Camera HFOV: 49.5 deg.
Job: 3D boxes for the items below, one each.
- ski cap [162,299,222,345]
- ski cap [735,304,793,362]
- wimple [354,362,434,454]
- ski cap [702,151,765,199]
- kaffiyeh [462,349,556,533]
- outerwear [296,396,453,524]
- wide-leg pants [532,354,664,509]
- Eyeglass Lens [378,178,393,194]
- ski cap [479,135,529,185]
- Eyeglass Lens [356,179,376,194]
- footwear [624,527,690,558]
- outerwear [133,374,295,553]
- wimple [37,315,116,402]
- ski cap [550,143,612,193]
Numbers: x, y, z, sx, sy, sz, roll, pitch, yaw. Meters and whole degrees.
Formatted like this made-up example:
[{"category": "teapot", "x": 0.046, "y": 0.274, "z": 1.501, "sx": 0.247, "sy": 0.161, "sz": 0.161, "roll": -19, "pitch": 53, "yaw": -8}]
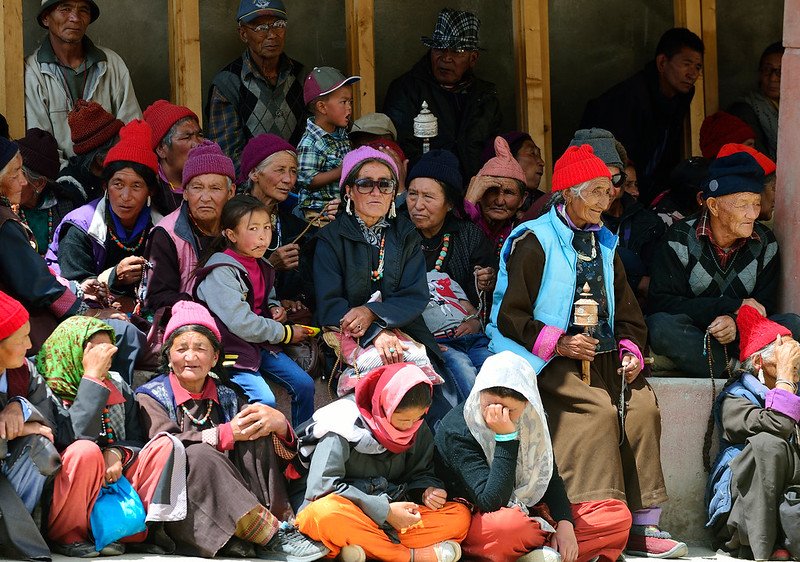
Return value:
[{"category": "ski cap", "x": -1.245, "y": 0.242, "z": 5.199, "sx": 0.315, "sy": 0.243, "sz": 0.283, "roll": 0, "pitch": 2, "yaw": -9}, {"category": "ski cap", "x": 2.402, "y": 0.340, "z": 5.856, "sx": 0.307, "sy": 0.346, "sz": 0.414, "roll": -32, "pitch": 16, "yaw": -30}, {"category": "wimple", "x": -0.058, "y": 0.693, "z": 5.007, "sx": 0.383, "sy": 0.436, "sz": 0.488, "roll": 6, "pitch": 16, "yaw": -40}, {"category": "ski cap", "x": 2.386, "y": -0.755, "z": 6.245, "sx": 0.391, "sy": 0.253, "sz": 0.303, "roll": -12, "pitch": -6, "yaw": 36}, {"category": "kaffiyeh", "x": 0.611, "y": 0.855, "z": 4.874, "sx": 0.517, "sy": 0.920, "sz": 0.312, "roll": 0, "pitch": 2, "yaw": 2}, {"category": "outerwear", "x": -0.145, "y": 1.064, "z": 5.074, "sx": 0.744, "sy": 0.771, "sz": 0.501, "roll": -5, "pitch": 46, "yaw": -26}, {"category": "wide-leg pants", "x": 1.206, "y": 0.957, "z": 5.570, "sx": 0.702, "sy": 1.015, "sz": 0.336, "roll": -6, "pitch": -15, "yaw": -25}, {"category": "Eyeglass Lens", "x": -0.096, "y": -0.640, "z": 5.837, "sx": 0.127, "sy": 0.096, "sz": 0.033, "roll": -1, "pitch": 2, "yaw": -39}, {"category": "ski cap", "x": 0.843, "y": -0.955, "z": 6.985, "sx": 0.374, "sy": 0.360, "sz": 0.329, "roll": 19, "pitch": -14, "yaw": -28}, {"category": "Eyeglass Lens", "x": -0.234, "y": -0.644, "z": 5.817, "sx": 0.133, "sy": 0.105, "sz": 0.032, "roll": 1, "pitch": 2, "yaw": 21}, {"category": "footwear", "x": 1.575, "y": 1.607, "z": 5.407, "sx": 0.427, "sy": 0.172, "sz": 0.162, "roll": 0, "pitch": -1, "yaw": 26}, {"category": "outerwear", "x": -1.046, "y": 1.018, "z": 4.945, "sx": 0.842, "sy": 0.937, "sz": 0.566, "roll": 0, "pitch": 2, "yaw": -19}, {"category": "wimple", "x": -1.931, "y": 0.462, "z": 5.085, "sx": 0.366, "sy": 0.470, "sz": 0.343, "roll": -4, "pitch": 5, "yaw": 13}, {"category": "ski cap", "x": 1.180, "y": -0.758, "z": 5.783, "sx": 0.321, "sy": 0.231, "sz": 0.335, "roll": -12, "pitch": -1, "yaw": 36}]
